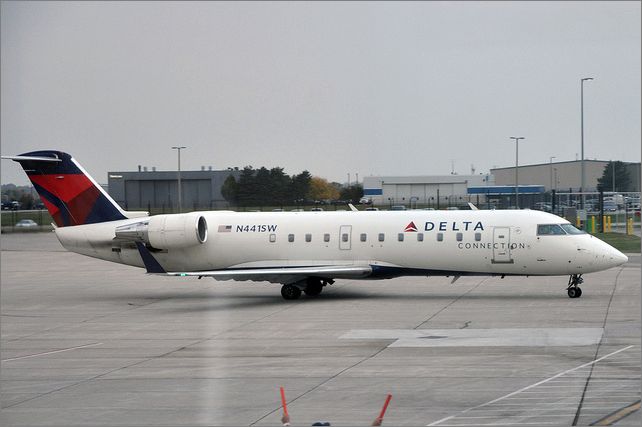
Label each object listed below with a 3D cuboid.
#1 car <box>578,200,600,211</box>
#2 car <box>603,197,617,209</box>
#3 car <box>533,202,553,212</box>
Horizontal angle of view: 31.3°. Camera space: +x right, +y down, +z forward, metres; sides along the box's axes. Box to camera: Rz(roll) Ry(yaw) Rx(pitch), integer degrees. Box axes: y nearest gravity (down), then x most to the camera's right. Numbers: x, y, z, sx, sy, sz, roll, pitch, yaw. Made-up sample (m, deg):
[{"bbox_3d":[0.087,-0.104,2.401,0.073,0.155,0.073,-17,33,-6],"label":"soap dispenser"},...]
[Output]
[{"bbox_3d":[27.379,-0.720,115.993,1.896,0.690,2.685,-1,0,2],"label":"car"},{"bbox_3d":[34.068,-1.093,133.806,1.762,1.023,2.498,0,9,11],"label":"car"},{"bbox_3d":[21.645,-0.582,110.756,2.164,0.755,1.085,4,2,13],"label":"car"}]
